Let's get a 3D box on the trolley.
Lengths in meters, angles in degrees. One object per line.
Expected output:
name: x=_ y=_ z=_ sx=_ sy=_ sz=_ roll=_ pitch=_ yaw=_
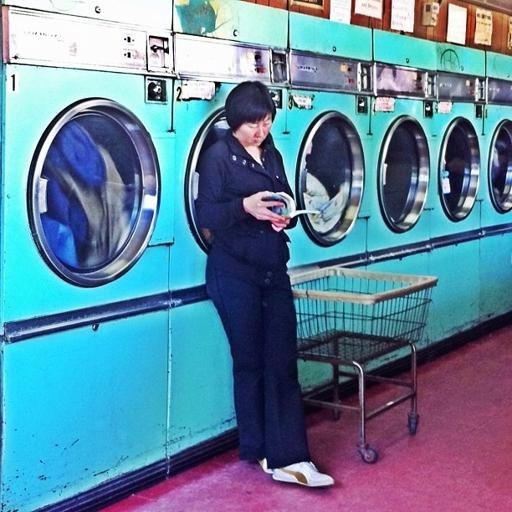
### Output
trolley: x=0.662 y=0.603 z=2.880 sx=0.617 sy=0.881 sz=0.647 roll=-2 pitch=-17 yaw=7

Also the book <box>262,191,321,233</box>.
book: x=0.129 y=-0.177 z=2.052 sx=0.188 sy=0.087 sz=0.132 roll=6 pitch=11 yaw=-1

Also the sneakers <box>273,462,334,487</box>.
sneakers: x=0.214 y=0.969 z=2.213 sx=0.265 sy=0.127 sz=0.111 roll=-1 pitch=-7 yaw=16

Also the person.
person: x=0.023 y=0.143 z=2.179 sx=0.561 sy=1.791 sz=0.394 roll=-1 pitch=4 yaw=-9
